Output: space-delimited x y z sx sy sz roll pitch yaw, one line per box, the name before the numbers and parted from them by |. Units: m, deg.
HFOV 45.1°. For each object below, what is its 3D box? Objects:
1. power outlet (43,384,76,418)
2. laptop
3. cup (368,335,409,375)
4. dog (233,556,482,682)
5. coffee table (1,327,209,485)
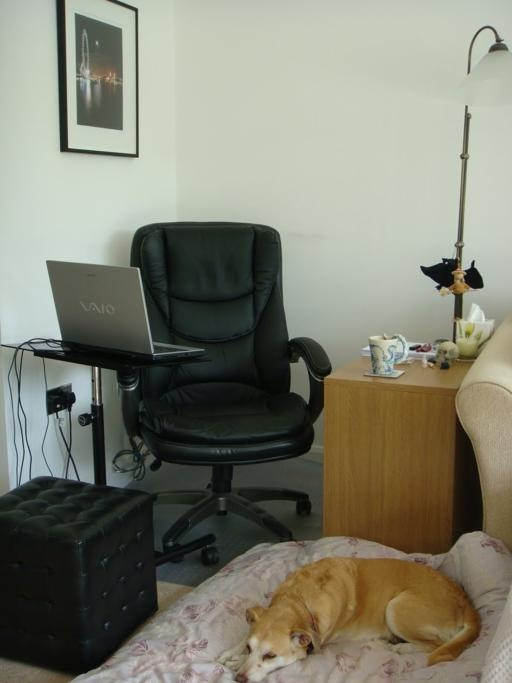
power outlet | -0.690 0.205 2.201 0.082 0.106 0.162 3 7 18
laptop | -0.409 -0.097 1.861 0.401 0.259 0.315 3 5 35
cup | 0.378 0.036 1.673 0.138 0.136 0.090 1 5 14
dog | 0.177 0.491 1.121 0.275 0.089 0.205 -12 8 -32
coffee table | -0.520 0.199 2.058 0.540 0.511 0.233 6 20 17
